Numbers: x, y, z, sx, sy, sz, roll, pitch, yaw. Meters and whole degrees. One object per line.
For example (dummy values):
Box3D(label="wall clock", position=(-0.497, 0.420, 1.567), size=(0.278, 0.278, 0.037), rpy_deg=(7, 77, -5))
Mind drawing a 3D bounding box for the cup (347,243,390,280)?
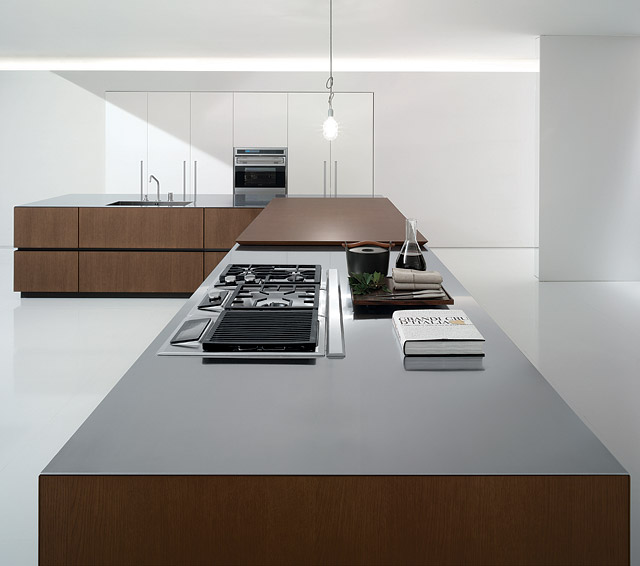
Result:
Box3D(label="cup", position=(0.158, -0.075, 1.852), size=(0.115, 0.080, 0.123), rpy_deg=(0, 9, 0))

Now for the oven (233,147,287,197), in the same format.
Box3D(label="oven", position=(-0.667, -1.148, 6.324), size=(0.594, 0.612, 0.420), rpy_deg=(-1, -17, 0))

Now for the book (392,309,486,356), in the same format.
Box3D(label="book", position=(0.269, 0.110, 1.315), size=(0.184, 0.062, 0.263), rpy_deg=(1, 8, 2))
